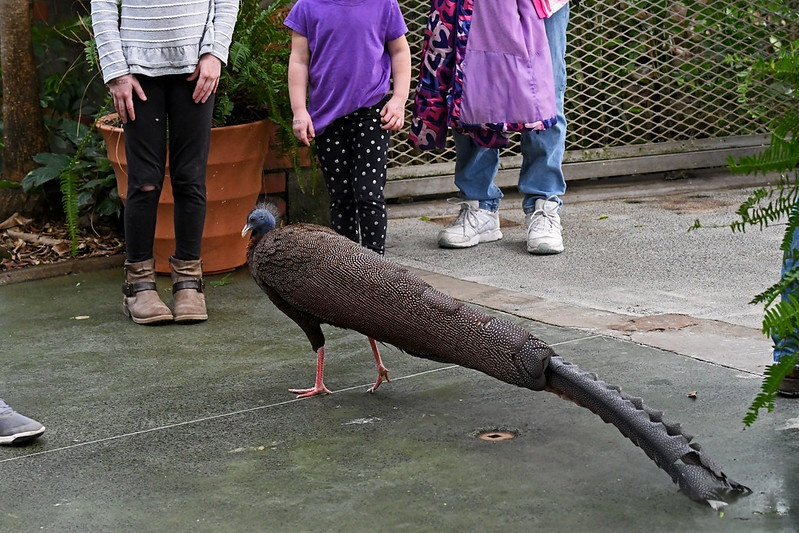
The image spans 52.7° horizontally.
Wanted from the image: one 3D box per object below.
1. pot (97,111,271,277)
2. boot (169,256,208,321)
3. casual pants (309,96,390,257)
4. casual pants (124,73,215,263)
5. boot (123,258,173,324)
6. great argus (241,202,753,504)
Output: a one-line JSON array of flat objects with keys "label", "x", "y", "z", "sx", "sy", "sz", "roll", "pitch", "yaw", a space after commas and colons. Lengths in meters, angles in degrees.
[{"label": "pot", "x": -1.362, "y": -0.509, "z": 5.570, "sx": 1.290, "sy": 0.789, "sz": 1.117, "roll": -1, "pitch": 9, "yaw": -3}, {"label": "boot", "x": -1.214, "y": 0.115, "z": 4.646, "sx": 0.226, "sy": 0.293, "sz": 0.499, "roll": 0, "pitch": 17, "yaw": -14}, {"label": "casual pants", "x": -0.239, "y": -0.502, "z": 4.623, "sx": 0.467, "sy": 0.841, "sz": 0.313, "roll": 0, "pitch": 0, "yaw": 18}, {"label": "casual pants", "x": -1.298, "y": -0.541, "z": 4.554, "sx": 0.534, "sy": 1.052, "sz": 0.212, "roll": -12, "pitch": 17, "yaw": -32}, {"label": "boot", "x": -1.433, "y": 0.145, "z": 4.550, "sx": 0.248, "sy": 0.334, "sz": 0.283, "roll": -7, "pitch": 14, "yaw": -18}, {"label": "great argus", "x": 0.238, "y": 0.271, "z": 3.018, "sx": 2.165, "sy": 0.571, "sz": 0.417, "roll": 18, "pitch": 30, "yaw": 18}]
